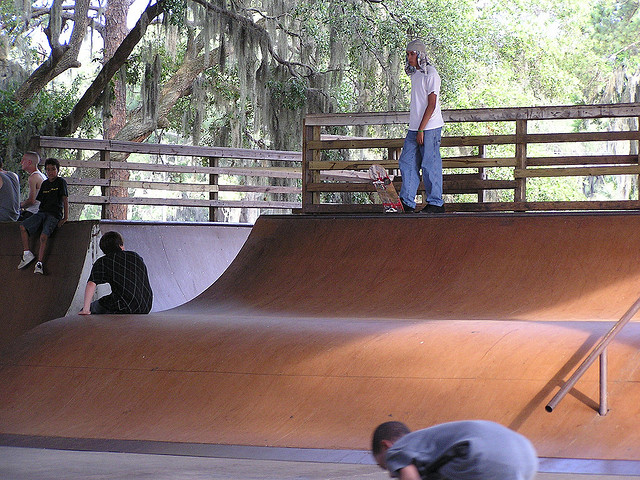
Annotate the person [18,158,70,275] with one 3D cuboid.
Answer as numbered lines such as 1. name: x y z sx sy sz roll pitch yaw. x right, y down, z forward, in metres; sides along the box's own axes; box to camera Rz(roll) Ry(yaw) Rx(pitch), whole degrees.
1. person: -3.466 -0.291 8.002 0.861 1.464 0.544 3 2 34

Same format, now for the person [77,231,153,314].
1. person: -2.113 0.358 6.657 0.678 0.872 0.434 1 2 -17

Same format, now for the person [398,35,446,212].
1. person: 1.200 -1.346 7.318 0.504 2.027 0.354 2 2 17
